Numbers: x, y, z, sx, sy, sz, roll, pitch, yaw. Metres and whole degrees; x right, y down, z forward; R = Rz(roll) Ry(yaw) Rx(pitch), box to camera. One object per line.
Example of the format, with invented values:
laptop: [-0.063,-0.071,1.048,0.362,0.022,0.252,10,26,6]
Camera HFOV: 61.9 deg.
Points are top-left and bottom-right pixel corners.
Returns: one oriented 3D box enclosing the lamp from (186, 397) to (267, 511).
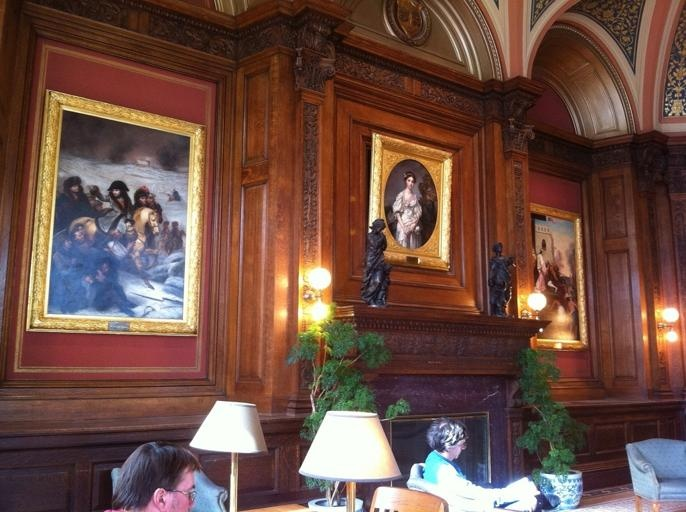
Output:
lamp: [-0.863,1.467,4.186,0.485,0.842,1.084,4,-11,-14]

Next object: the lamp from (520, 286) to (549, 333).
lamp: [2.938,0.752,8.653,0.349,0.555,0.399,-3,16,4]

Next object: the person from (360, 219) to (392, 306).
person: [0.390,0.100,6.936,0.349,1.051,0.531,0,-10,3]

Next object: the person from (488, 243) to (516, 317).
person: [2.251,0.324,8.145,0.362,1.019,0.346,-2,-11,13]

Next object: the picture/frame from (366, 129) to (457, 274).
picture/frame: [0.881,-0.724,7.818,1.703,2.131,0.151,8,-13,-35]

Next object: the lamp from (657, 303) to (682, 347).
lamp: [5.890,1.222,10.348,0.323,0.681,0.500,-7,-13,38]

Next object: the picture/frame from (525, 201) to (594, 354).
picture/frame: [3.665,0.427,9.788,2.235,2.712,0.107,10,-14,-36]

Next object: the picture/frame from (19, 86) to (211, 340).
picture/frame: [-2.548,-0.425,6.193,2.352,3.596,0.083,10,-17,-37]

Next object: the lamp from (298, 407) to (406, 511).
lamp: [0.067,1.048,3.221,0.483,0.601,0.512,-1,-7,11]
